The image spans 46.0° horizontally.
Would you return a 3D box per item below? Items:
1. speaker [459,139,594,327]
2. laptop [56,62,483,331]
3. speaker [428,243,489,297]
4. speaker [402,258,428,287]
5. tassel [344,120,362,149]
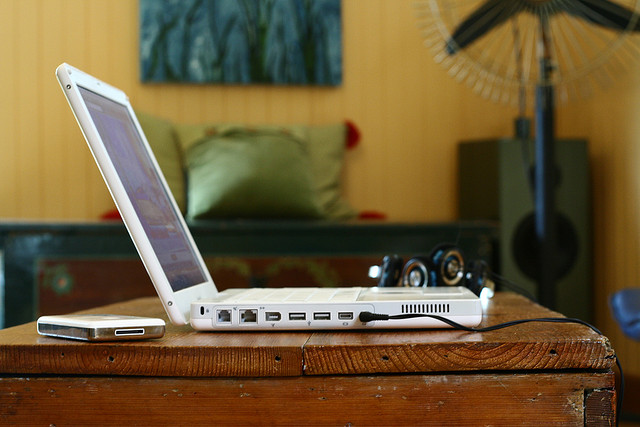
[{"bbox_3d":[0.805,0.124,3.002,0.471,0.903,0.511,-2,2,-25],"label":"speaker"},{"bbox_3d":[-0.138,-0.003,1.824,0.779,0.552,0.578,0,-2,-3],"label":"laptop"},{"bbox_3d":[0.336,0.133,1.865,0.130,0.136,0.044,29,0,-9],"label":"speaker"},{"bbox_3d":[0.236,0.136,1.838,0.058,0.063,0.061,-13,-2,21],"label":"speaker"},{"bbox_3d":[0.076,-0.185,1.771,0.055,0.057,0.016,5,5,-26],"label":"tassel"}]
